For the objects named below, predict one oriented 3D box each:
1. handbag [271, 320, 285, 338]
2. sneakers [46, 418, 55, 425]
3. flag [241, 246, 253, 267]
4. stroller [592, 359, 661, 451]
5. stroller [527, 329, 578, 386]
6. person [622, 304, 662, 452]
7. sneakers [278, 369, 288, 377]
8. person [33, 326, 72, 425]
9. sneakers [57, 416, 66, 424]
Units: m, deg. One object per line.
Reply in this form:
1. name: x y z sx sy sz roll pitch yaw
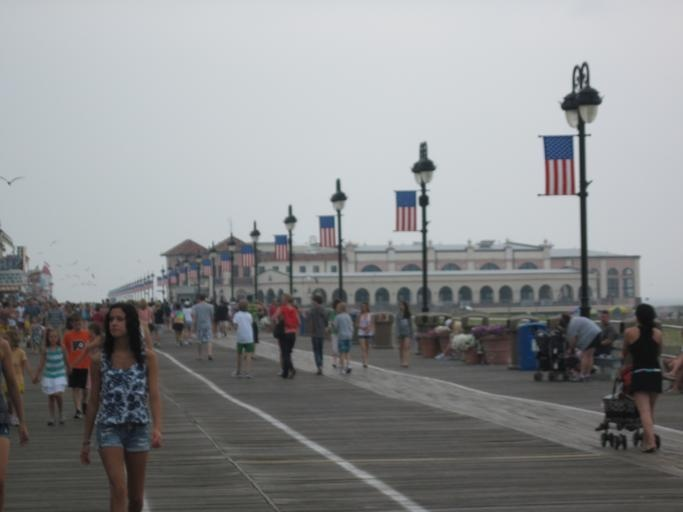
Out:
1. handbag: -1.442 1.642 29.509 0.322 0.549 0.364 6 -9 -6
2. sneakers: -4.816 2.728 21.852 0.079 0.071 0.167 2 -12 -6
3. flag: -5.387 -0.034 74.287 0.065 1.386 1.362 -10 14 -41
4. stroller: 4.089 2.220 19.759 0.857 0.994 0.547 -6 2 -2
5. stroller: 4.501 2.103 28.601 0.915 0.958 0.906 -2 -1 -5
6. person: 4.403 1.759 19.444 0.543 2.133 0.788 0 -1 12
7. sneakers: -1.317 2.585 29.223 0.124 0.149 0.463 1 -1 -22
8. person: -4.984 2.002 22.683 0.519 1.567 3.155 1 -1 -12
9. sneakers: -4.685 2.745 22.073 0.098 0.189 0.078 22 -47 -21
